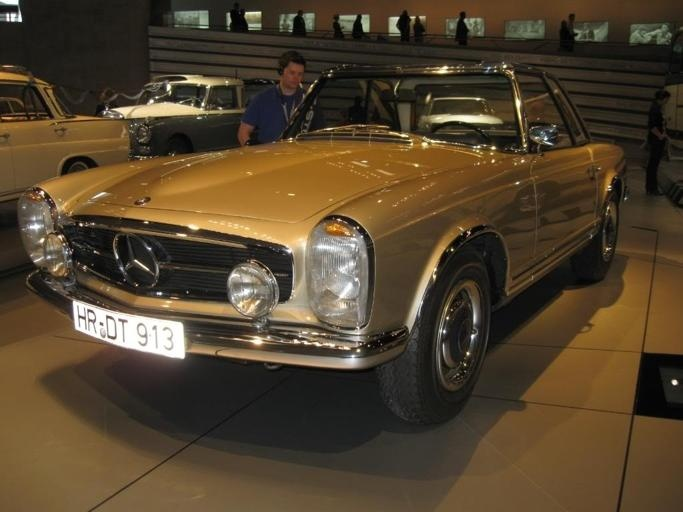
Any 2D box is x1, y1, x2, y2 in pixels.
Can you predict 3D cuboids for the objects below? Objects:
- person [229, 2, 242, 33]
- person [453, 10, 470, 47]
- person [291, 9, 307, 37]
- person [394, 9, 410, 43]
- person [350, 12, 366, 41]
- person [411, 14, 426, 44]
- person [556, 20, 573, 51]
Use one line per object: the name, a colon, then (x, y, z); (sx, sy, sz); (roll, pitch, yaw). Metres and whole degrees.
person: (-4.576, -10.326, 20.506); (0.550, 1.128, 0.754); (-7, 20, -9)
person: (4.868, -9.151, 19.041); (0.523, 1.330, 1.191); (2, 20, 13)
person: (-1.837, -9.971, 20.309); (0.583, 1.150, 1.259); (-5, 20, -4)
person: (2.566, -9.417, 19.473); (0.493, 1.214, 0.662); (-1, 20, 7)
person: (0.716, -9.710, 20.044); (0.555, 1.108, 1.533); (-2, 20, 3)
person: (3.271, -9.486, 19.813); (0.474, 1.141, 1.526); (1, 20, 11)
person: (8.665, -8.450, 18.168); (0.578, 1.123, 1.094); (6, 22, 24)
